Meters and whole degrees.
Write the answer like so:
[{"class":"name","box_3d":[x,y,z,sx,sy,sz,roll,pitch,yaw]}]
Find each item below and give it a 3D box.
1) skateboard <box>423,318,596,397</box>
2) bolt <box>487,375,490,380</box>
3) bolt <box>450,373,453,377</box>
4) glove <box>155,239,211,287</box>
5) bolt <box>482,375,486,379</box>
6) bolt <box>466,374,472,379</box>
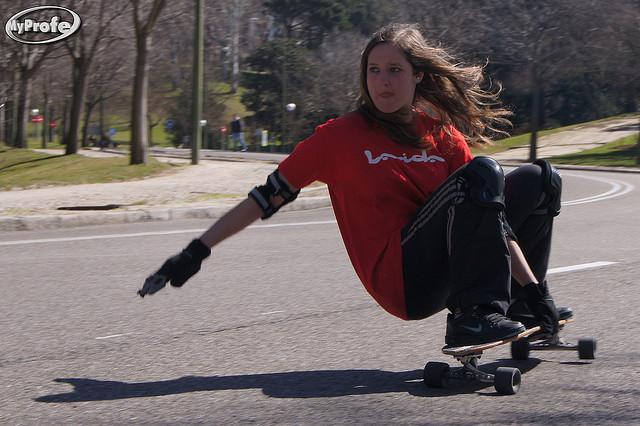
[{"class":"skateboard","box_3d":[0.946,0.708,3.302,0.602,0.181,0.847,-6,-17,-19]},{"class":"bolt","box_3d":[0.860,0.842,3.365,0.024,0.019,0.006,3,-2,-13]},{"class":"bolt","box_3d":[0.687,0.846,3.439,0.017,0.011,0.003,1,0,2]},{"class":"glove","box_3d":[-0.656,0.256,3.459,0.283,0.076,0.393,-19,23,-15]},{"class":"bolt","box_3d":[0.838,0.840,3.375,0.025,0.016,0.006,-5,-11,5]},{"class":"bolt","box_3d":[0.766,0.841,3.396,0.025,0.023,0.010,4,13,25]}]
